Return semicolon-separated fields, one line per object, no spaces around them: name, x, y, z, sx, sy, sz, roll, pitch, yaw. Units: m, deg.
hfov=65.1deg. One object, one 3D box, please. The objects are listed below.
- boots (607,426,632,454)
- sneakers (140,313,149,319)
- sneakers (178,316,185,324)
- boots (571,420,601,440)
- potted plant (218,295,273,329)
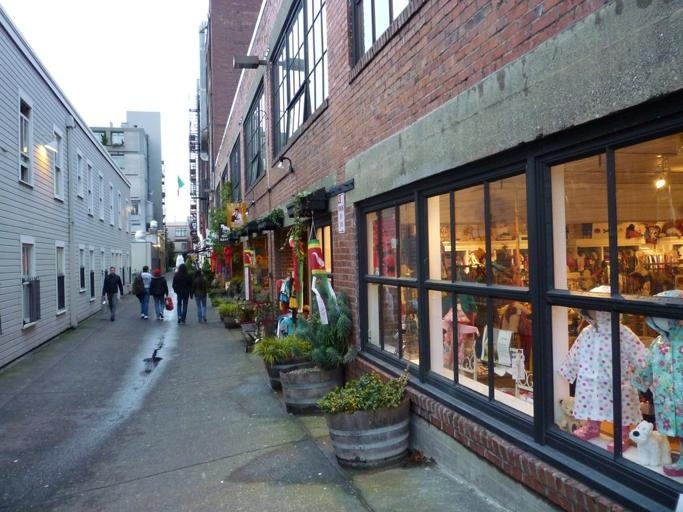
boots;1.972;1.307;3.783;0.178;0.197;0.101;-1;-7;27
sneakers;-6.994;2.082;18.933;0.153;0.138;0.231;0;-3;-6
sneakers;-5.115;2.006;17.040;0.230;0.209;0.447;-3;3;-19
boots;1.853;1.300;4.044;0.098;0.117;0.166;-1;2;-42
potted plant;-2.741;1.521;14.748;1.010;0.555;1.434;1;-4;-22
